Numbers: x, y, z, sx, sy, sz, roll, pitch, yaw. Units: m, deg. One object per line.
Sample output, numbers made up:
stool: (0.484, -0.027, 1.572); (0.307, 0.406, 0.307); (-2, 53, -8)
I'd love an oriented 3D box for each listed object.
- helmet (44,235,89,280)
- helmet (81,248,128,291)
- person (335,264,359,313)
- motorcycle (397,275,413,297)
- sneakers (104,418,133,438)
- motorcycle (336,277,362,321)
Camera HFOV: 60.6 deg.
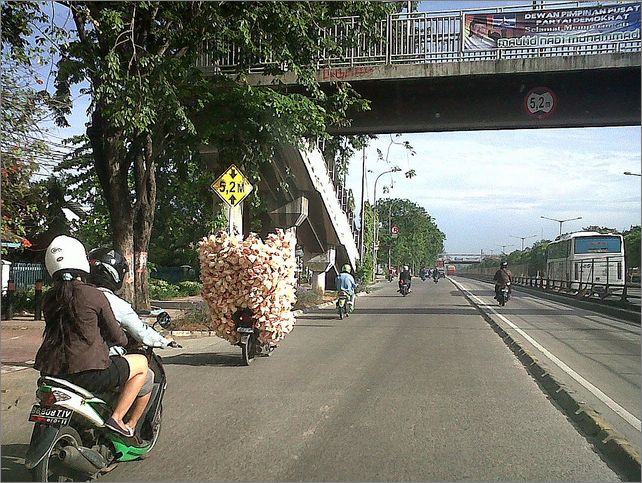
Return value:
helmet: (-2.448, 0.143, 5.242); (0.293, 0.402, 0.429); (-7, 5, 5)
helmet: (-2.273, 0.284, 5.821); (0.330, 0.401, 0.422); (9, 13, 11)
person: (0.835, 1.717, 20.488); (0.967, 1.711, 2.581); (5, 18, 3)
motorcycle: (5.617, 2.933, 36.690); (0.695, 1.071, 1.735); (2, 3, 14)
sneakers: (-1.939, 1.811, 5.300); (0.093, 0.125, 0.297); (-2, -39, 41)
motorcycle: (1.021, 1.993, 20.413); (0.630, 0.997, 1.510); (2, 10, 8)
